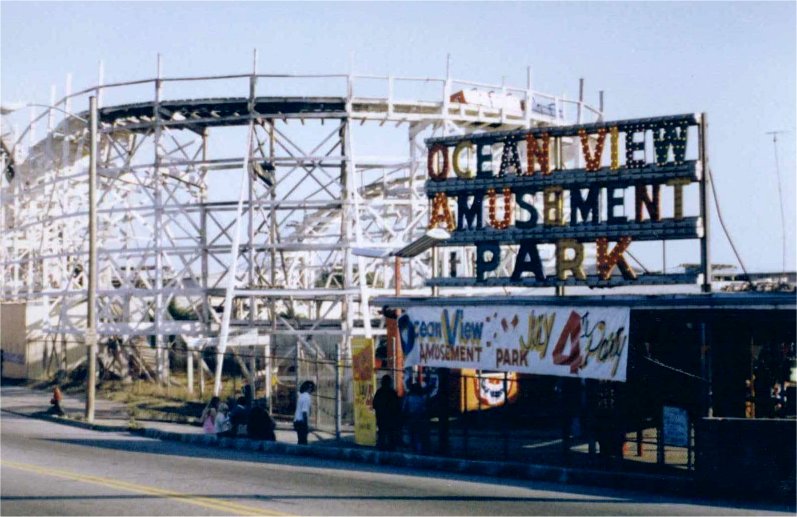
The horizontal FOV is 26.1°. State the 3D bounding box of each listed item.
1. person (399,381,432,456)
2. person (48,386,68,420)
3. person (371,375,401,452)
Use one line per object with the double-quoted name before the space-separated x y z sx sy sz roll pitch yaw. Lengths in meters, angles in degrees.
"person" 0.678 6.304 68.508 1.017 2.865 1.549 1 -9 -1
"person" -14.933 6.345 74.966 0.709 1.380 0.727 19 -25 -34
"person" -0.474 6.064 68.093 1.108 2.985 0.503 -1 -9 8
